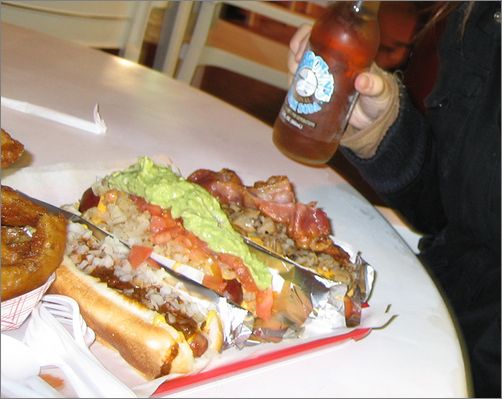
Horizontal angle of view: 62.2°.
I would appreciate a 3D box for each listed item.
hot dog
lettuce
[{"bbox_3d":[-0.332,0.272,1.087,0.526,0.165,0.259,25,1,33],"label":"hot dog"},{"bbox_3d":[-0.151,0.060,1.127,0.144,0.126,0.572,-26,52,-39],"label":"lettuce"}]
